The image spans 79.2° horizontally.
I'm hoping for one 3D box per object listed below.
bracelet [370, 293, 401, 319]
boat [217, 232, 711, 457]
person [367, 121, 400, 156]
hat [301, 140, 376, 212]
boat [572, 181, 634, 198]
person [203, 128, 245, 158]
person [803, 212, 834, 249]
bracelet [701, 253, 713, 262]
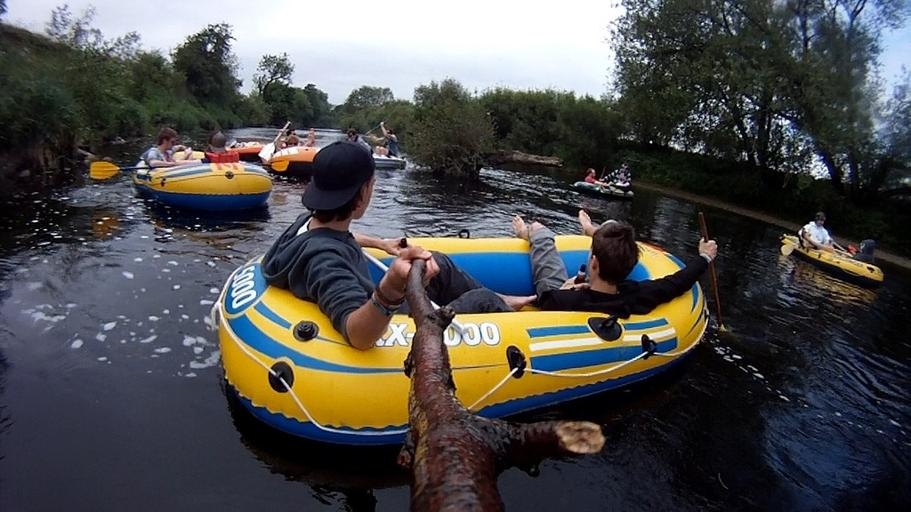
[{"bbox_3d":[-0.951,0.679,7.359,0.299,0.159,0.356,26,8,-43],"label":"bracelet"},{"bbox_3d":[0.143,1.499,8.792,6.718,1.371,3.924,-4,22,-11],"label":"boat"},{"bbox_3d":[-3.307,-5.027,25.353,1.211,1.988,0.934,8,-9,-25],"label":"person"},{"bbox_3d":[-1.661,-1.119,7.813,0.959,1.011,0.408,3,19,-14],"label":"hat"},{"bbox_3d":[5.732,-2.520,21.516,1.544,0.322,0.990,11,12,15],"label":"boat"},{"bbox_3d":[-6.391,-2.979,14.899,0.778,0.648,1.388,-9,28,-35],"label":"person"},{"bbox_3d":[10.139,-0.654,15.378,0.812,1.032,0.792,3,10,-21],"label":"person"},{"bbox_3d":[4.323,0.040,9.485,0.166,0.054,0.169,27,-5,41],"label":"bracelet"}]
